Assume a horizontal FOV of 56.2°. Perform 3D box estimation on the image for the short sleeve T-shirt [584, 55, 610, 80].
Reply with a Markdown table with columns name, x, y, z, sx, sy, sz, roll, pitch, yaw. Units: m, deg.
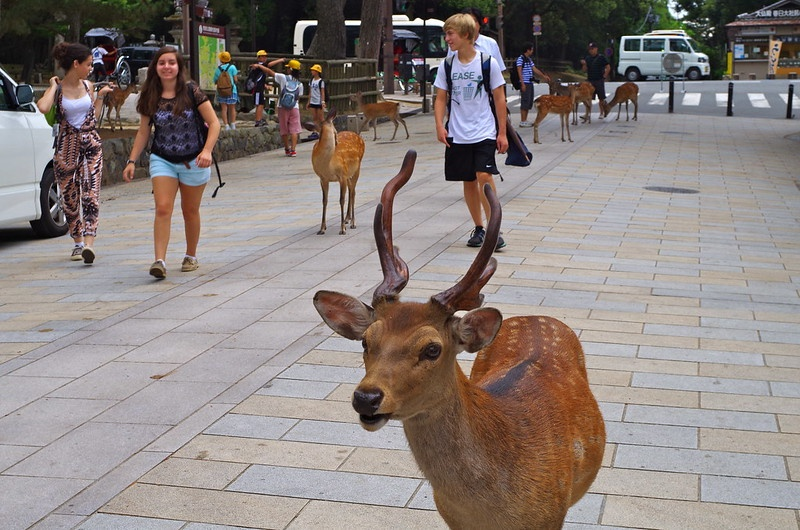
| name | x | y | z | sx | sy | sz | roll | pitch | yaw |
| --- | --- | --- | --- | --- | --- | --- | --- | --- | --- |
| short sleeve T-shirt | 6.719 | -6.727 | 25.397 | 0.657 | 0.843 | 0.877 | 2 | 16 | 14 |

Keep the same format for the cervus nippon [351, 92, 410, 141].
| name | x | y | z | sx | sy | sz | roll | pitch | yaw |
| --- | --- | --- | --- | --- | --- | --- | --- | --- | --- |
| cervus nippon | -0.658 | -5.042 | 24.957 | 1.407 | 1.301 | 4.432 | -4 | 16 | -9 |

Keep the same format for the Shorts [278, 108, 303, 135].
| name | x | y | z | sx | sy | sz | roll | pitch | yaw |
| --- | --- | --- | --- | --- | --- | --- | --- | --- | --- |
| Shorts | -3.141 | -4.073 | 21.090 | 0.560 | 0.767 | 0.634 | -5 | 16 | -10 |

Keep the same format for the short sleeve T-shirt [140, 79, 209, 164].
| name | x | y | z | sx | sy | sz | roll | pitch | yaw |
| --- | --- | --- | --- | --- | --- | --- | --- | --- | --- |
| short sleeve T-shirt | -2.617 | -1.679 | 8.776 | 0.682 | 0.900 | 0.447 | -6 | 16 | -13 |

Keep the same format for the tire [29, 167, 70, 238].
| name | x | y | z | sx | sy | sz | roll | pitch | yaw |
| --- | --- | --- | --- | --- | --- | --- | --- | --- | --- |
| tire | -5.224 | -0.973 | 11.021 | 0.268 | 0.814 | 0.835 | 0 | 24 | 16 |

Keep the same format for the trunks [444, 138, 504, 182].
| name | x | y | z | sx | sy | sz | roll | pitch | yaw |
| --- | --- | --- | --- | --- | --- | --- | --- | --- | --- |
| trunks | 0.939 | -1.341 | 9.632 | 0.891 | 0.815 | 0.477 | 1 | 5 | 15 |

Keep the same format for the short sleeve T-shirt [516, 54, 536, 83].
| name | x | y | z | sx | sy | sz | roll | pitch | yaw |
| --- | --- | --- | --- | --- | --- | --- | --- | --- | --- |
| short sleeve T-shirt | 3.784 | -5.956 | 22.633 | 0.422 | 0.829 | 0.827 | 2 | 16 | 13 |

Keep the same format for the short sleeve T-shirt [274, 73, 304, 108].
| name | x | y | z | sx | sy | sz | roll | pitch | yaw |
| --- | --- | --- | --- | --- | --- | --- | --- | --- | --- |
| short sleeve T-shirt | -3.236 | -4.877 | 20.658 | 0.738 | 0.977 | 0.977 | -1 | 19 | -13 |

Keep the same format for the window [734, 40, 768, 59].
| name | x | y | z | sx | sy | sz | roll | pitch | yaw |
| --- | --- | --- | --- | --- | --- | --- | --- | --- | --- |
| window | 30.619 | -18.804 | 64.848 | 2.196 | 1.589 | 4.915 | 11 | 20 | 39 |

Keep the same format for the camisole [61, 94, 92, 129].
| name | x | y | z | sx | sy | sz | roll | pitch | yaw |
| --- | --- | --- | --- | --- | --- | --- | --- | --- | --- |
| camisole | -4.373 | -2.057 | 9.981 | 0.471 | 0.414 | 0.240 | -5 | 4 | -26 |
